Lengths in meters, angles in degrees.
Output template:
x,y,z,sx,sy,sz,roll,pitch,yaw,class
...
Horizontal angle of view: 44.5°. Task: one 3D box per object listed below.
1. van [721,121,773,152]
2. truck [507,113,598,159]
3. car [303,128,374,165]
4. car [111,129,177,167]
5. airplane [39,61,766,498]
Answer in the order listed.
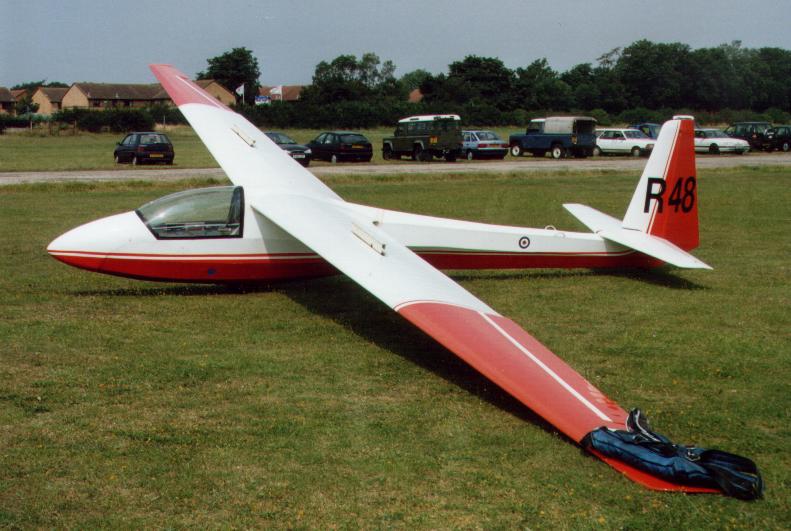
x,y,z,sx,sy,sz,roll,pitch,yaw,class
18.546,-6.889,51.195,1.517,1.052,2.345,-10,19,-36,van
7.602,-6.231,46.571,4.049,1.661,2.270,12,15,40,truck
-2.505,-5.160,42.254,1.546,0.932,2.531,-9,23,-33,car
-10.055,-4.644,37.987,1.383,0.870,2.015,-7,20,-29,car
0.332,-0.716,17.813,13.545,5.806,7.035,6,14,26,airplane
